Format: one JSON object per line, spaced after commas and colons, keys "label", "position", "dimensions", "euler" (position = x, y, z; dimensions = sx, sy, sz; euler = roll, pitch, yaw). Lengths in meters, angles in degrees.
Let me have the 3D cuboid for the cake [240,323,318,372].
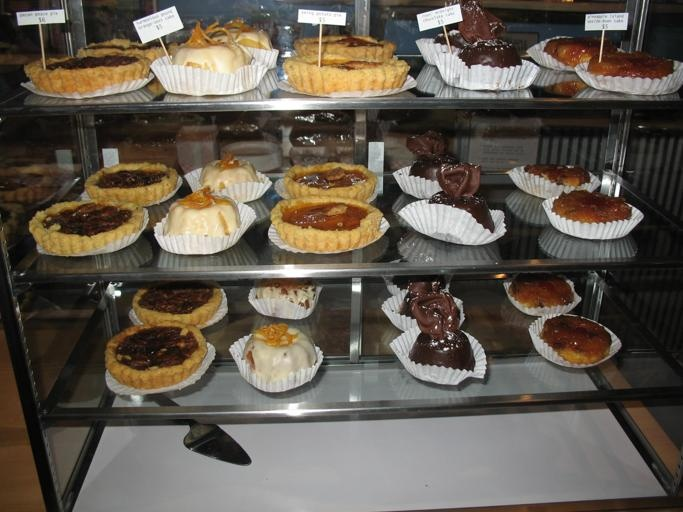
{"label": "cake", "position": [-0.295, 0.453, 2.445], "dimensions": [0.349, 0.121, 0.263], "euler": [-1, 28, -6]}
